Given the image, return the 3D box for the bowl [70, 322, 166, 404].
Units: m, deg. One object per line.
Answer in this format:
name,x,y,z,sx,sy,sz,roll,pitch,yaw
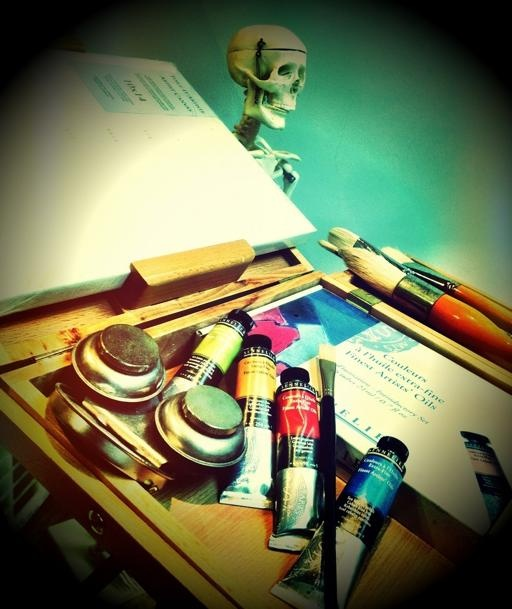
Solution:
bowl,-0.160,0.062,0.621,0.130,0.035,0.117,7,41,-43
